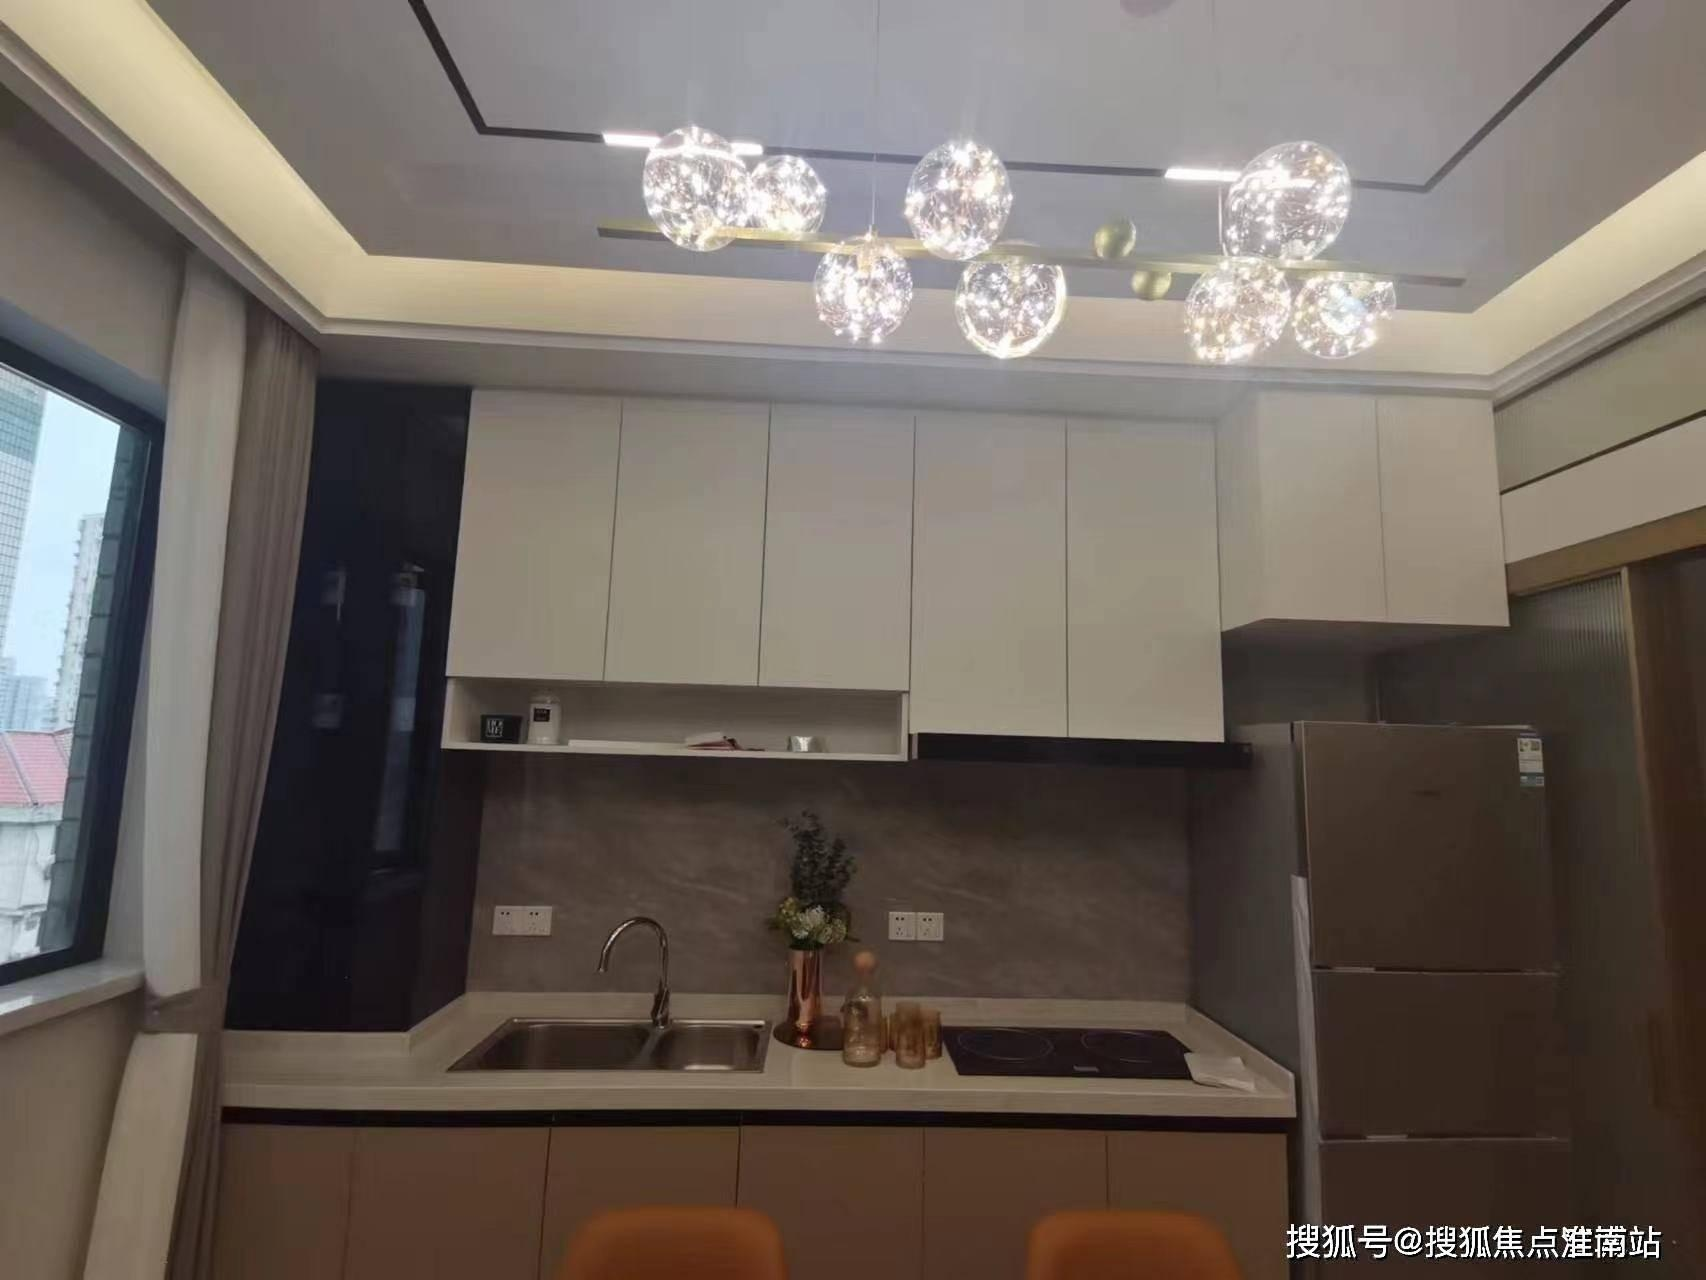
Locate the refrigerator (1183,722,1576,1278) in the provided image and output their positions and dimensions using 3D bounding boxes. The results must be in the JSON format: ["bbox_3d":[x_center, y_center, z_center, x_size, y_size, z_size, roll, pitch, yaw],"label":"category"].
[{"bbox_3d":[1.580,0.991,3.591,0.979,1.457,0.505,-4,-10,32],"label":"refrigerator"}]

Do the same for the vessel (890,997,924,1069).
[{"bbox_3d":[0.174,1.230,3.648,0.127,0.236,0.139,0,-10,-6],"label":"vessel"}]

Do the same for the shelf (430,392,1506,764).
[{"bbox_3d":[0.511,-0.157,4.134,3.560,1.421,0.647,1,-16,-7],"label":"shelf"}]

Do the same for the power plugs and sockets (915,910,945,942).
[{"bbox_3d":[0.274,0.998,4.103,0.096,0.104,0.025,2,-5,-1],"label":"power plugs and sockets"}]

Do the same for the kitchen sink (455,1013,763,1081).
[{"bbox_3d":[-0.755,1.330,3.844,0.951,0.147,0.321,3,-9,-8],"label":"kitchen sink"}]
